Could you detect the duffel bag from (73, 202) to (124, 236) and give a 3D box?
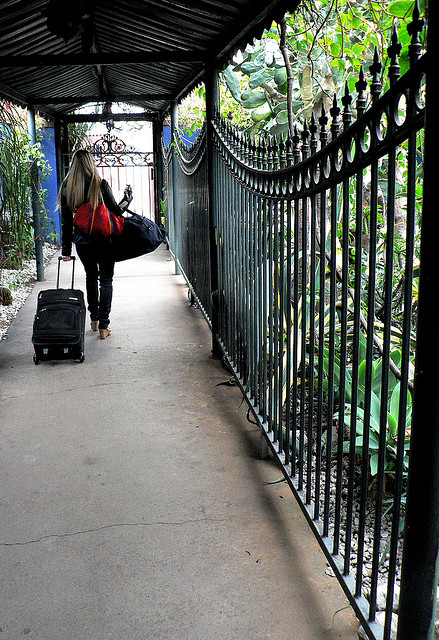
[{"bbox_3d":[-1.027,-0.847,4.444,0.281,0.319,0.264,13,13,23],"label":"duffel bag"}]

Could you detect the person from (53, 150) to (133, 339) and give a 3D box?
[{"bbox_3d":[-1.146,-0.723,4.656,0.542,1.904,0.554,-1,14,-17],"label":"person"}]

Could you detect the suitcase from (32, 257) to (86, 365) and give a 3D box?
[{"bbox_3d":[-1.251,0.050,4.114,0.389,0.538,0.471,-3,9,-18],"label":"suitcase"}]

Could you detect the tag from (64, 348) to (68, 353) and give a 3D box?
[{"bbox_3d":[-1.158,0.228,3.974,0.024,0.037,0.018,-2,8,-15],"label":"tag"}]
